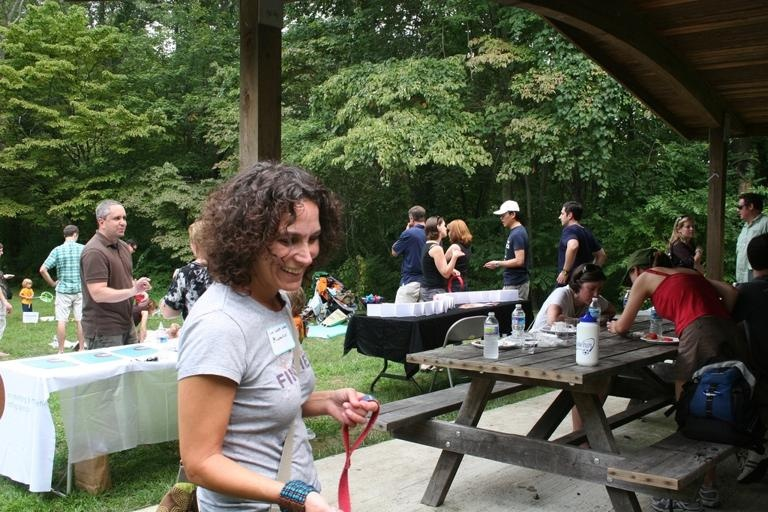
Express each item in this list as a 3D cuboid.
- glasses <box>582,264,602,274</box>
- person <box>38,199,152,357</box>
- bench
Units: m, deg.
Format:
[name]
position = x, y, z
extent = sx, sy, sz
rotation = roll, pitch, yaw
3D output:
[glasses]
position = 1.885, 0.107, 5.554
extent = 0.106, 0.039, 0.115
rotation = 3, -13, -11
[person]
position = -2.620, 0.200, 5.865
extent = 0.557, 1.497, 0.945
rotation = 0, 3, -27
[bench]
position = 1.284, 1.273, 4.671
extent = 1.553, 0.809, 1.758
rotation = 1, 1, 38
